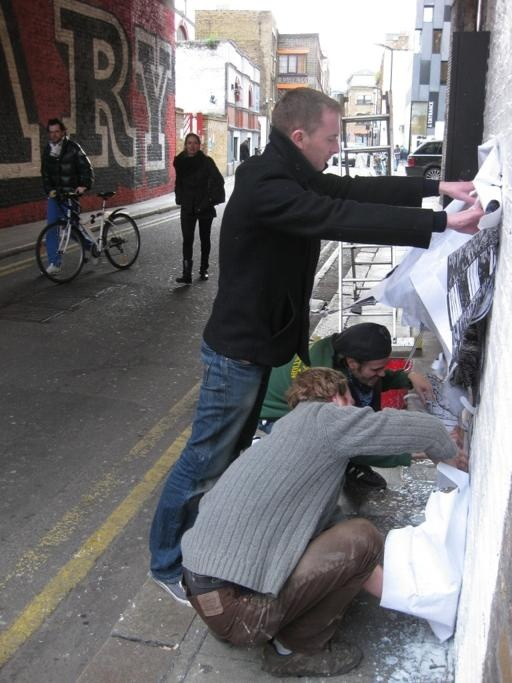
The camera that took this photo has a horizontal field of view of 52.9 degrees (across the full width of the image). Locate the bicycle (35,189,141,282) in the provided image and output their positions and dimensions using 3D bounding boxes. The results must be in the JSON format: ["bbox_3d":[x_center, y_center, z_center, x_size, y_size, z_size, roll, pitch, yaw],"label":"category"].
[{"bbox_3d":[-3.205,-1.948,9.208,1.166,1.551,2.463,8,20,35],"label":"bicycle"}]

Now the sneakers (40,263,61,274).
[{"bbox_3d":[-3.250,-1.145,8.151,0.209,0.104,0.131,4,5,-13],"label":"sneakers"}]

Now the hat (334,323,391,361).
[{"bbox_3d":[0.556,-0.005,2.662,0.172,0.125,0.240,-22,26,-27],"label":"hat"}]

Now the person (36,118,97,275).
[{"bbox_3d":[-3.147,-2.508,8.539,0.748,2.245,1.041,-4,15,-19],"label":"person"}]

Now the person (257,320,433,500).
[{"bbox_3d":[0.522,0.268,2.918,1.014,0.992,0.774,0,58,7],"label":"person"}]

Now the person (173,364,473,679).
[{"bbox_3d":[0.160,0.589,2.229,1.077,1.148,0.654,-5,8,-18],"label":"person"}]
